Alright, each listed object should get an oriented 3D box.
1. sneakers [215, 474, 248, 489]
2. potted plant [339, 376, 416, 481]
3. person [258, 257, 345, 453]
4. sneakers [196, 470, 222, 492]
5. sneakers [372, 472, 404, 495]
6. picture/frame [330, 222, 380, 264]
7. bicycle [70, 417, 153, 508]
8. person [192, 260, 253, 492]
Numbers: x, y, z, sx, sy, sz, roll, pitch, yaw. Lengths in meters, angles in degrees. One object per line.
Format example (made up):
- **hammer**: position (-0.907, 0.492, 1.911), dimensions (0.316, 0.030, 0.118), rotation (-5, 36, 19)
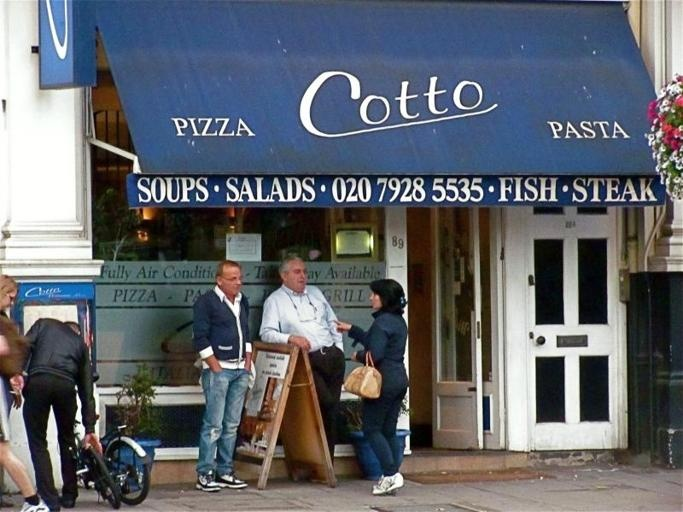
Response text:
- **sneakers**: position (-1.187, 2.431, 14.549), dimensions (0.380, 0.210, 0.142), rotation (4, -1, 2)
- **potted plant**: position (0.446, 1.897, 14.891), dimensions (0.879, 1.516, 0.895), rotation (-4, 1, -5)
- **person**: position (-0.405, 1.095, 14.859), dimensions (0.905, 2.186, 0.306), rotation (0, -4, -24)
- **sneakers**: position (-1.421, 2.409, 14.463), dimensions (0.258, 0.225, 0.248), rotation (-1, -4, -7)
- **sneakers**: position (0.491, 2.405, 14.283), dimensions (0.346, 0.233, 0.245), rotation (-3, -4, 11)
- **picture/frame**: position (0.158, -0.165, 15.658), dimensions (0.666, 0.657, 0.353), rotation (0, 0, -2)
- **bicycle**: position (-2.307, 2.166, 13.766), dimensions (0.518, 0.703, 1.051), rotation (-17, 12, -29)
- **person**: position (-1.277, 1.278, 14.478), dimensions (0.631, 2.461, 0.411), rotation (-1, -4, -15)
